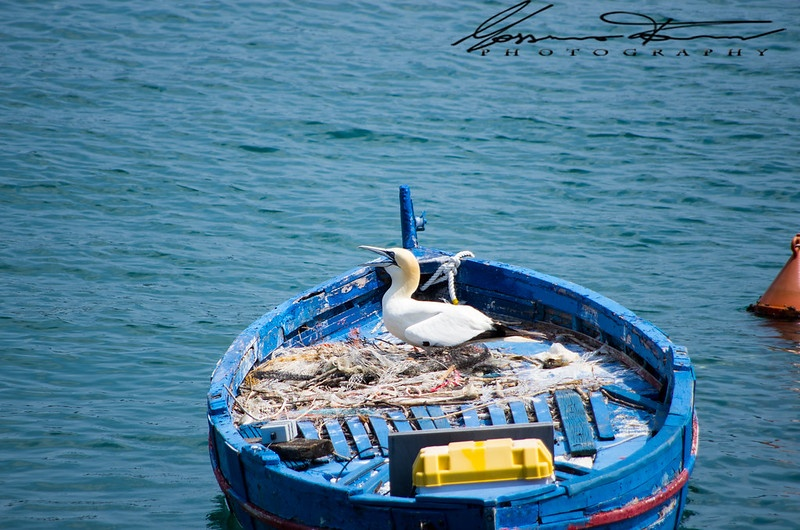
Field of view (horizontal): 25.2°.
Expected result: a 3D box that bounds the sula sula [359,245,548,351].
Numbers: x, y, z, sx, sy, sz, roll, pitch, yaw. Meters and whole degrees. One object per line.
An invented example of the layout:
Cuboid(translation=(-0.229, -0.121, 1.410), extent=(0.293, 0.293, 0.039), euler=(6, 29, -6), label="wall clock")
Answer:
Cuboid(translation=(1.544, 0.881, 36.884), extent=(1.775, 1.969, 5.439), euler=(-30, 27, -35), label="sula sula")
